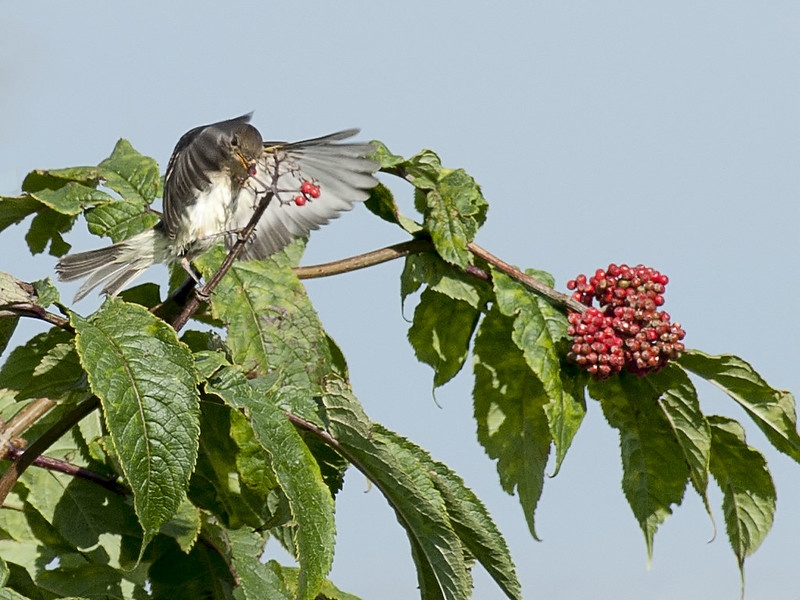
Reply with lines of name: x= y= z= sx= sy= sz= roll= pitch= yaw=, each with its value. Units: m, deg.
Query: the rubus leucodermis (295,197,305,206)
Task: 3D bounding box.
rubus leucodermis: x=-0.299 y=-0.299 z=3.669 sx=0.030 sy=0.034 sz=0.017 roll=9 pitch=-32 yaw=-26

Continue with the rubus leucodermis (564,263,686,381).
rubus leucodermis: x=0.736 y=0.090 z=4.027 sx=0.362 sy=0.308 sz=0.310 roll=-18 pitch=-58 yaw=17

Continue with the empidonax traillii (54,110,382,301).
empidonax traillii: x=-0.661 y=-0.353 z=4.051 sx=1.170 sy=1.087 sz=0.637 roll=-2 pitch=-80 yaw=-27
